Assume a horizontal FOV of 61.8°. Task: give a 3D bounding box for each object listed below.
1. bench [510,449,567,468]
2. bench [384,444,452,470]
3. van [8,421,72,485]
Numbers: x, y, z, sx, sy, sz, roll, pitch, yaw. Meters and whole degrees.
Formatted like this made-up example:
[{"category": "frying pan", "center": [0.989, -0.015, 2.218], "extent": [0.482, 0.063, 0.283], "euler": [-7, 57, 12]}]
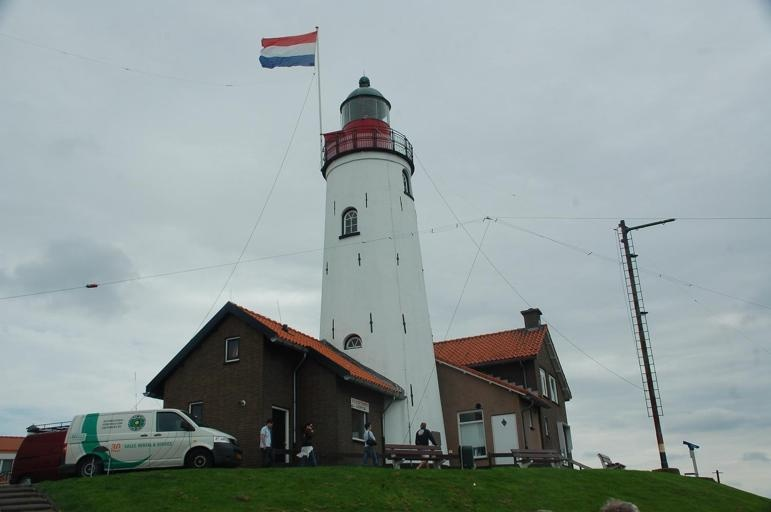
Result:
[{"category": "bench", "center": [7.286, 9.747, 31.194], "extent": [1.036, 0.813, 4.085], "euler": [-22, -22, 30]}, {"category": "bench", "center": [1.359, 9.008, 28.996], "extent": [2.141, 0.774, 0.876], "euler": [15, -7, -30]}, {"category": "van", "center": [-14.658, 8.238, 27.105], "extent": [1.619, 2.491, 2.890], "euler": [-7, -13, 33]}]
